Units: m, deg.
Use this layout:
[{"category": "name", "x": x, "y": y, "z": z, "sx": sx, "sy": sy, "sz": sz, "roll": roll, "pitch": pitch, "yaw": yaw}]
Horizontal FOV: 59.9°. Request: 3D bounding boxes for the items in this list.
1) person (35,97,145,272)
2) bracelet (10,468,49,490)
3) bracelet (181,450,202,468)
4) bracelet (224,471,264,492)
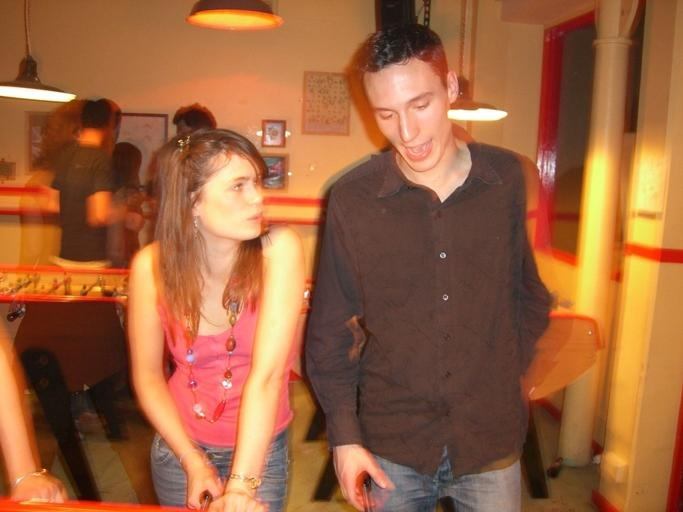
[{"category": "person", "x": -1.848, "y": -0.532, "z": 4.263, "sx": 0.516, "sy": 1.186, "sz": 0.395, "roll": -5, "pitch": 8, "yaw": -25}, {"category": "bracelet", "x": -0.994, "y": 0.710, "z": 1.890, "sx": 0.100, "sy": 0.041, "sz": 0.064, "roll": -6, "pitch": 8, "yaw": -33}, {"category": "bracelet", "x": -0.529, "y": 0.706, "z": 2.069, "sx": 0.052, "sy": 0.038, "sz": 0.053, "roll": -3, "pitch": 3, "yaw": -5}, {"category": "bracelet", "x": -0.321, "y": 0.753, "z": 2.011, "sx": 0.076, "sy": 0.044, "sz": 0.074, "roll": -4, "pitch": -26, "yaw": 44}]
